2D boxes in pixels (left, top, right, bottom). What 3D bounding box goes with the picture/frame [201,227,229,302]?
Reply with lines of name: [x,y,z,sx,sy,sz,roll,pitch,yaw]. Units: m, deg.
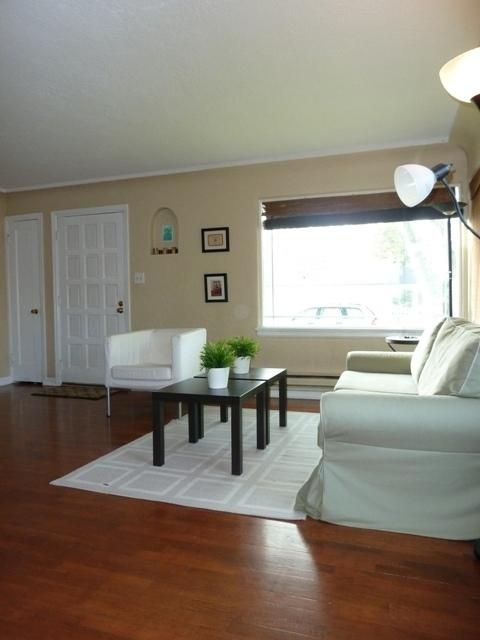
picture/frame: [-0.255,-0.574,5.124,0.319,0.770,0.062,0,4,30]

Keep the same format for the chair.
chair: [-0.705,0.398,4.238,0.792,0.702,0.778,1,-5,3]

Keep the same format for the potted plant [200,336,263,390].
potted plant: [-0.095,0.256,3.108,0.285,0.228,0.312,0,-3,-8]

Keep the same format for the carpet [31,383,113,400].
carpet: [-1.767,0.759,5.252,1.069,0.020,0.703,-1,4,19]

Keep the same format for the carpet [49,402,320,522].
carpet: [-0.137,0.820,2.932,1.354,0.055,1.355,-1,4,21]
